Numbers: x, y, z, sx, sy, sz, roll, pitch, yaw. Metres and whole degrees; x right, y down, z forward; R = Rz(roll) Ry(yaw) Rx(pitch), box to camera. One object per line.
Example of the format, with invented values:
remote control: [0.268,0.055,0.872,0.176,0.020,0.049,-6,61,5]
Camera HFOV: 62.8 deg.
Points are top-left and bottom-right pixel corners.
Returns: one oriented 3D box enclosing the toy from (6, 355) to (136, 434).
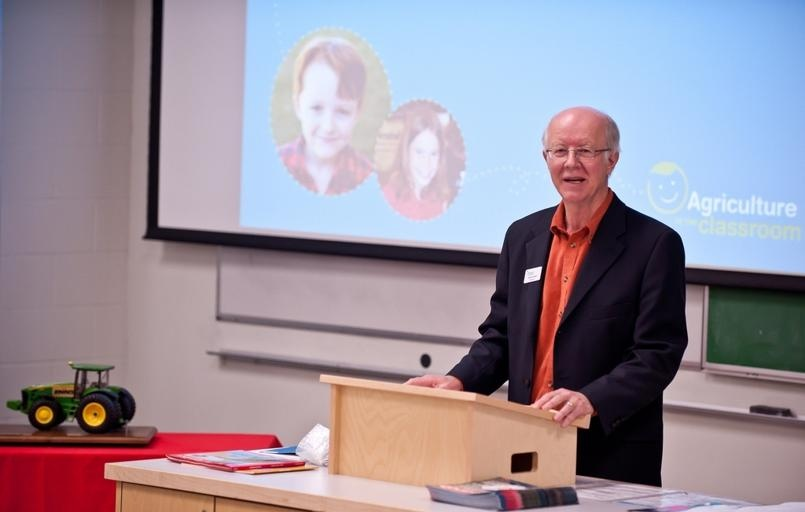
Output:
toy: [-1.575,0.665,3.259,0.574,0.318,0.326,0,-1,6]
